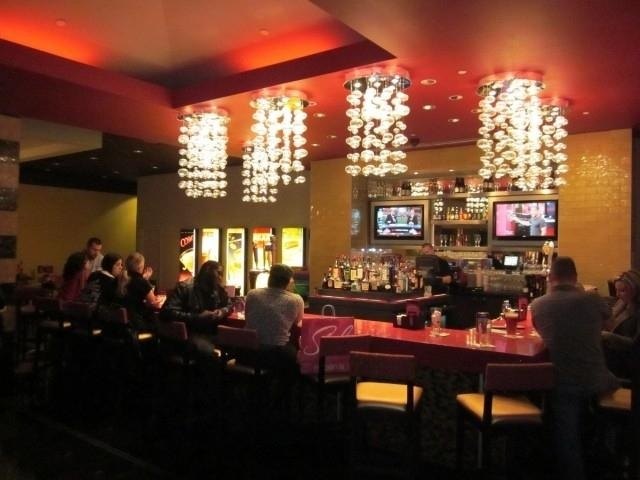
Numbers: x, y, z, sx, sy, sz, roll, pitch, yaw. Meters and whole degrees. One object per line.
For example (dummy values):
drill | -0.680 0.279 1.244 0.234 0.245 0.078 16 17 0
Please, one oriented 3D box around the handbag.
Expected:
handbag | 0.067 0.997 5.350 0.692 0.740 0.316 1 -5 -9

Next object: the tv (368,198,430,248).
tv | 1.649 -0.355 11.012 1.569 1.094 0.808 2 3 28

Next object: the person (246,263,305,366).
person | -0.453 0.781 5.581 0.578 1.067 0.350 0 0 -11

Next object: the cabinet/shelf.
cabinet/shelf | 2.555 -0.005 10.295 3.253 1.772 0.489 1 9 15

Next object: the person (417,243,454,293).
person | 1.824 0.456 8.772 0.658 1.040 0.547 1 7 24

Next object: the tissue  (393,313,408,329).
tissue  | 0.858 0.861 5.871 0.133 0.123 0.128 0 -4 41
